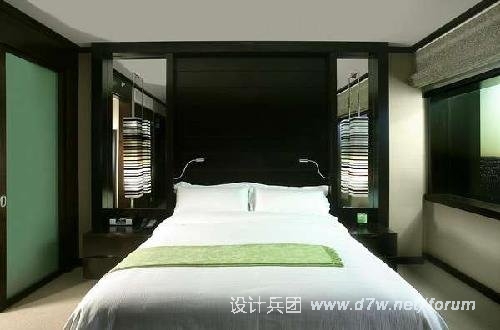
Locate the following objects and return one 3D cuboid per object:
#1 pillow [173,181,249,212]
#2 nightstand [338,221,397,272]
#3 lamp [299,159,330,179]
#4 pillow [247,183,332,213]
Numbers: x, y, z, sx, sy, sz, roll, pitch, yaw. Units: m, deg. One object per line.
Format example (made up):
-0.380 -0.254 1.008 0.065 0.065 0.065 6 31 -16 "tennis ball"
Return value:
-0.539 0.485 5.346 0.600 0.468 0.150 -2 -27 -2 "pillow"
1.757 1.101 5.458 0.600 0.627 0.615 -1 -83 6 "nightstand"
1.068 0.044 5.832 0.637 0.199 0.410 0 -90 4 "lamp"
0.596 0.456 5.177 0.674 0.526 0.119 -1 -38 1 "pillow"
